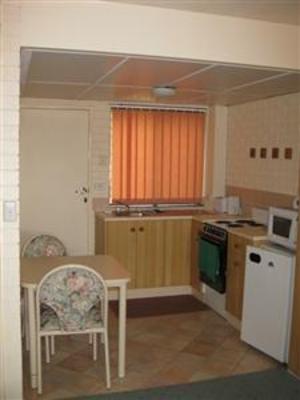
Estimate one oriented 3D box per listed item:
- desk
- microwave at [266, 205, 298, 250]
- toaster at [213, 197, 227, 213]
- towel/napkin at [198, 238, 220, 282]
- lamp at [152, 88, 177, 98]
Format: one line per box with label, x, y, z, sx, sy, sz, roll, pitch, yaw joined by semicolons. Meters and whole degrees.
desk;-0.492;0.726;2.329;0.542;0.465;0.480;-25;47;-33
microwave;1.035;0.222;2.651;0.196;0.285;0.334;1;7;-11
toaster;0.871;0.035;4.386;0.160;0.231;0.271;-3;11;-16
towel/napkin;0.608;0.606;3.458;0.069;0.424;0.452;-2;11;-17
lamp;0.140;-1.047;3.256;0.222;0.048;0.173;2;1;34
